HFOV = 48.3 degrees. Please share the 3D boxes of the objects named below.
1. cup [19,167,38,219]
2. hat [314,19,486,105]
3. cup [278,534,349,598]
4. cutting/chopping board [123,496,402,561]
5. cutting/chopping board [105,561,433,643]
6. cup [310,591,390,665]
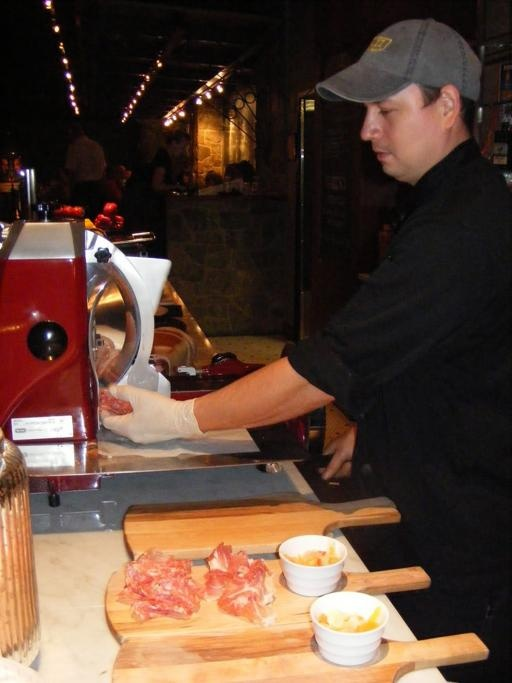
[{"bbox_3d":[-0.461,-0.295,1.161,0.034,0.115,0.028,-5,-15,-11],"label":"cup"},{"bbox_3d":[0.240,-0.466,0.945,0.283,0.128,0.174,-8,30,-20],"label":"hat"},{"bbox_3d":[0.069,0.267,0.675,0.073,0.038,0.068,2,9,0],"label":"cup"},{"bbox_3d":[0.001,0.271,0.847,0.329,0.012,0.143,1,6,-15],"label":"cutting/chopping board"},{"bbox_3d":[0.013,0.261,0.636,0.284,0.012,0.134,0,6,-10],"label":"cutting/chopping board"},{"bbox_3d":[0.093,0.270,0.561,0.069,0.032,0.065,0,-5,0],"label":"cup"}]
